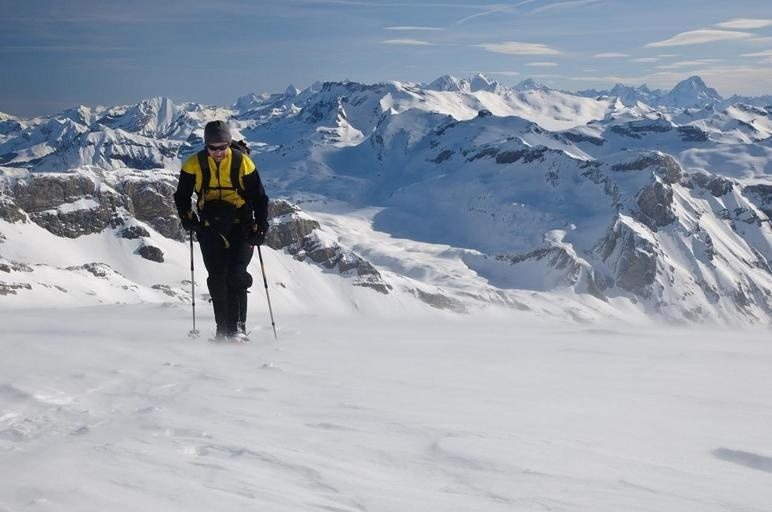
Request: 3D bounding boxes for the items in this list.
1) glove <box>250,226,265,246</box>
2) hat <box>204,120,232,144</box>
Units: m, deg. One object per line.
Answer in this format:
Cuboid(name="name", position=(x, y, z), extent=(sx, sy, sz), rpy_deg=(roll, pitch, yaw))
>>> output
Cuboid(name="glove", position=(-2.844, -0.468, 20.619), extent=(0.378, 0.450, 0.375), rpy_deg=(11, 16, 6))
Cuboid(name="hat", position=(-3.598, -2.691, 20.117), extent=(0.579, 0.552, 0.500), rpy_deg=(6, -4, -9))
